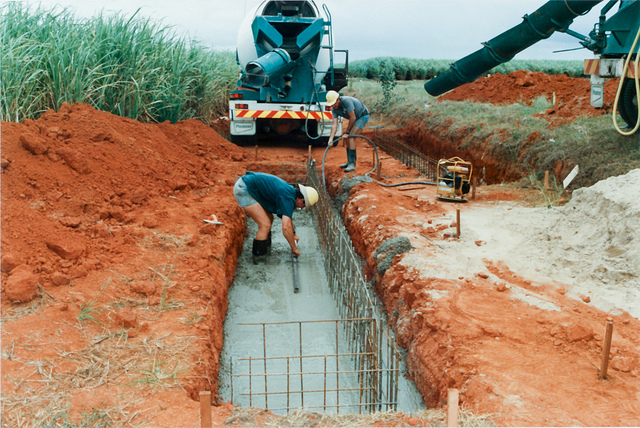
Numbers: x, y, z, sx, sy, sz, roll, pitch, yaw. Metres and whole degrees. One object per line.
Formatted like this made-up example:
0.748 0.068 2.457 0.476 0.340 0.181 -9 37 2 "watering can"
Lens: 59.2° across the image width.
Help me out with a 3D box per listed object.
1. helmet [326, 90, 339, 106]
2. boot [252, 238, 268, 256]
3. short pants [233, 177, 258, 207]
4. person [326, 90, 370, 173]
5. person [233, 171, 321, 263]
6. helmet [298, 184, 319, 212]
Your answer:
0.259 -2.542 11.995 0.262 0.298 0.161 -24 -37 32 "helmet"
-1.049 0.571 9.661 0.275 0.269 0.250 1 10 -8 "boot"
-1.253 -0.366 9.294 0.388 0.479 0.149 11 23 25 "short pants"
0.541 -1.820 12.334 1.189 1.675 0.677 -5 8 -38 "person"
-0.805 0.041 9.695 1.469 1.416 1.109 7 13 -6 "person"
-0.182 -0.252 9.225 0.186 0.382 0.272 -15 47 -4 "helmet"
